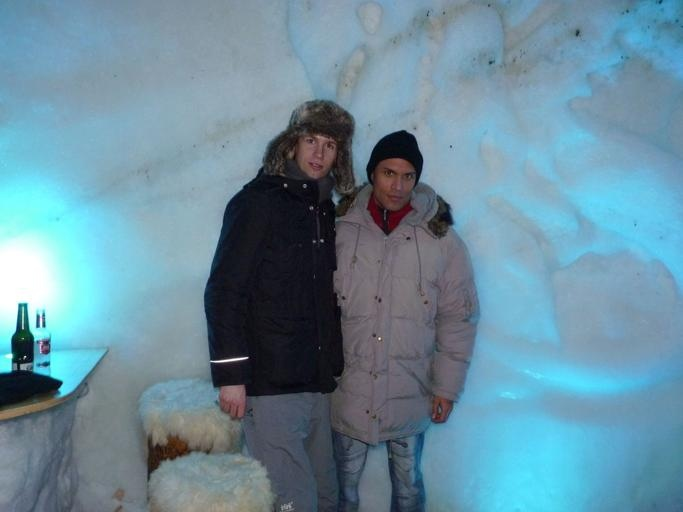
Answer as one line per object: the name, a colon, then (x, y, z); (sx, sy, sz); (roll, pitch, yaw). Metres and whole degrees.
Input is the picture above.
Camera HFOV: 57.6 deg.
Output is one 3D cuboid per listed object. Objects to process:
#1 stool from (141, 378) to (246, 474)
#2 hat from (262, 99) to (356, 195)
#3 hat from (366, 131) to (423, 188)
stool: (-0.776, 0.867, 3.381); (0.481, 0.459, 0.445); (-5, 0, 27)
hat: (-0.137, -0.623, 3.299); (0.460, 0.437, 0.340); (5, 26, -13)
hat: (0.324, -0.577, 3.397); (0.313, 0.322, 0.344); (0, 20, -14)
